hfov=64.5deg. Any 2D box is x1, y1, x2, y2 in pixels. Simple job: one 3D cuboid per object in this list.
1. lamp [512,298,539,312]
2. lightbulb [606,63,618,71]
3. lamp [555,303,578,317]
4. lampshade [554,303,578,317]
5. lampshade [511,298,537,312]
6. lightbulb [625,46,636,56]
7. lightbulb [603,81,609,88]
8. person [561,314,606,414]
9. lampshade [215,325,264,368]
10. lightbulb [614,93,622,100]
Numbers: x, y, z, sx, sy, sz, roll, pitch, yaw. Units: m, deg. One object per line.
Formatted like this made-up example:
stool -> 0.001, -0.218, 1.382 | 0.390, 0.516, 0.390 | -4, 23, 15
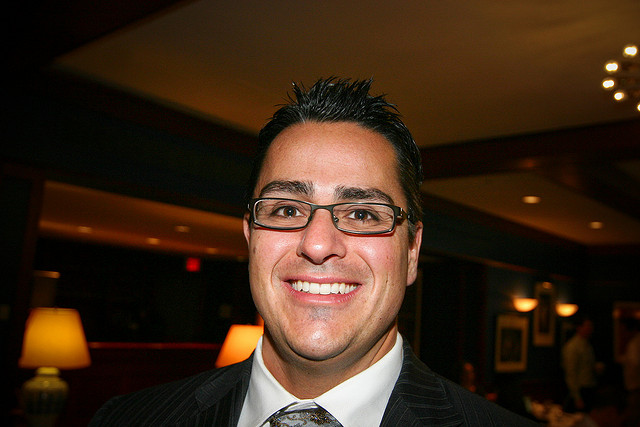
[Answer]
lamp -> 1.424, 0.629, 3.514 | 0.044, 0.096, 0.204 | 2, -8, -28
lightbulb -> 1.651, -0.828, 2.857 | 0.055, 0.048, 0.032 | -6, -8, 24
lamp -> 1.631, 0.625, 3.343 | 0.109, 0.059, 0.101 | 3, -9, -2
lampshade -> 1.621, 0.632, 3.349 | 0.108, 0.057, 0.100 | 3, -11, 4
lampshade -> 1.423, 0.628, 3.530 | 0.115, 0.059, 0.107 | 2, -9, 4
lightbulb -> 1.750, -0.915, 2.851 | 0.052, 0.056, 0.060 | -6, -9, 28
lightbulb -> 1.627, -0.733, 2.877 | 0.029, 0.041, 0.020 | -7, -8, 30
person -> 1.751, 0.999, 3.379 | 0.279, 0.660, 0.247 | -6, -8, 25
lampshade -> -0.734, 1.229, 4.721 | 0.397, 0.363, 0.479 | 0, -8, -18
lightbulb -> 1.722, -0.676, 2.919 | 0.034, 0.028, 0.049 | -6, -9, 26
